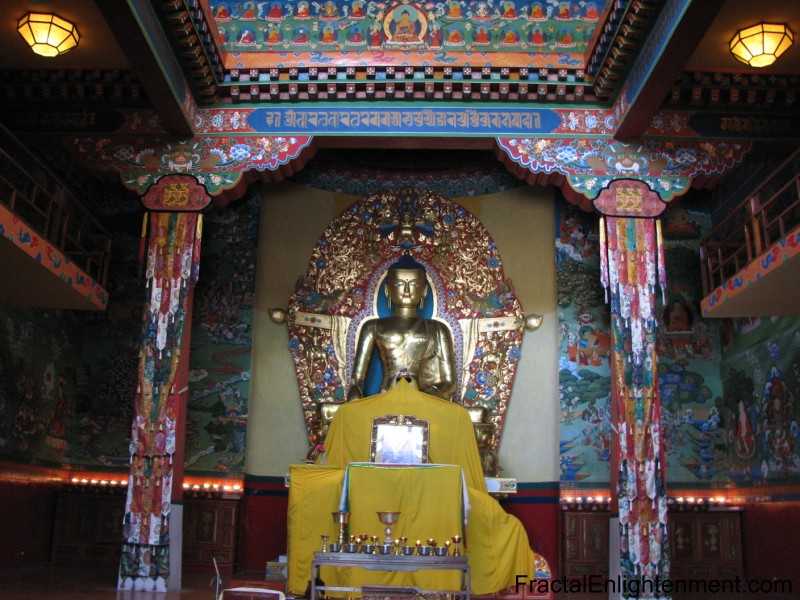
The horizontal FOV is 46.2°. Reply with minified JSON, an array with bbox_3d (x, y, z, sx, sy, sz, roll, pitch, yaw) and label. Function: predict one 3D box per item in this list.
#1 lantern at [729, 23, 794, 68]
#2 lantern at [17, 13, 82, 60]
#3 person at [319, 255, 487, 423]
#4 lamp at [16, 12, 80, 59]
[{"bbox_3d":[2.754,-1.934,7.088,0.450,0.190,0.305,-10,-25,25],"label":"lantern"},{"bbox_3d":[-2.721,-2.013,7.203,0.436,0.205,0.453,-4,-14,20],"label":"lantern"},{"bbox_3d":[0.049,0.437,9.037,1.349,2.330,0.741,0,-28,0],"label":"person"},{"bbox_3d":[-2.663,-2.017,7.101,0.331,0.165,0.332,9,-24,-28],"label":"lamp"}]
